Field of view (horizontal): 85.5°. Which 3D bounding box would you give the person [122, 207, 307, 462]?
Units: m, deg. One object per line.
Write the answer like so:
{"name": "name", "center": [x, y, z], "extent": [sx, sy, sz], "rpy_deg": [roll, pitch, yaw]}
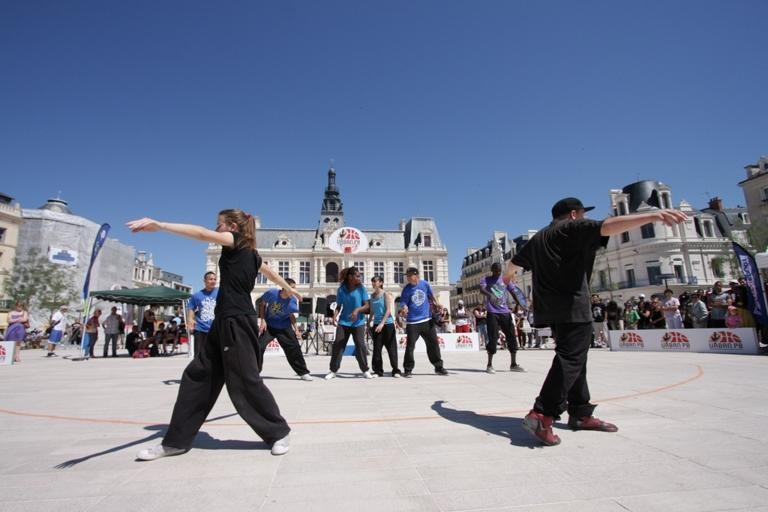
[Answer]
{"name": "person", "center": [-1.697, 0.736, 4.360], "extent": [1.305, 2.570, 0.580], "rpy_deg": [2, -7, -27]}

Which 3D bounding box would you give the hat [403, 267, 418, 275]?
{"name": "hat", "center": [0.589, 0.323, 8.862], "extent": [0.226, 0.098, 0.157], "rpy_deg": [3, -5, 8]}

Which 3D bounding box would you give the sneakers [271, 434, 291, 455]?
{"name": "sneakers", "center": [-1.058, 1.936, 4.294], "extent": [0.199, 0.155, 0.181], "rpy_deg": [2, -7, -22]}

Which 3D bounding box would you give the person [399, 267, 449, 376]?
{"name": "person", "center": [0.850, 1.397, 9.133], "extent": [0.924, 2.390, 1.254], "rpy_deg": [-2, -6, 6]}

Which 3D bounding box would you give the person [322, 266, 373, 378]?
{"name": "person", "center": [-0.751, 1.414, 9.100], "extent": [0.959, 2.387, 0.952], "rpy_deg": [0, -7, -7]}

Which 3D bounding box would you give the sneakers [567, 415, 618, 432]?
{"name": "sneakers", "center": [2.358, 1.860, 4.713], "extent": [0.426, 0.137, 0.200], "rpy_deg": [-3, -7, 12]}

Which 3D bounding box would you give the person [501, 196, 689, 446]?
{"name": "person", "center": [2.133, 0.642, 4.768], "extent": [1.355, 2.698, 0.887], "rpy_deg": [-3, -7, 15]}

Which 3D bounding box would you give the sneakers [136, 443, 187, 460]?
{"name": "sneakers", "center": [-2.215, 1.978, 4.189], "extent": [0.424, 0.151, 0.147], "rpy_deg": [15, -11, -18]}
